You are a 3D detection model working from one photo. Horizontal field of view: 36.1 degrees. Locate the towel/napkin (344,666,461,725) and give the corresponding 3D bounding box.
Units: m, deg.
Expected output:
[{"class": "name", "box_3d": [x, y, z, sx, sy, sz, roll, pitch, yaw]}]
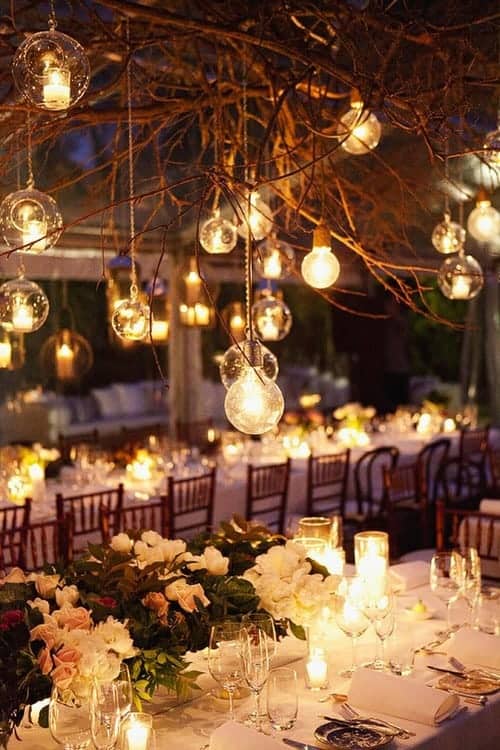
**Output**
[{"class": "towel/napkin", "box_3d": [0.347, 0.710, 1.757, 0.162, 0.056, 0.114, 7, 4, 31]}]
